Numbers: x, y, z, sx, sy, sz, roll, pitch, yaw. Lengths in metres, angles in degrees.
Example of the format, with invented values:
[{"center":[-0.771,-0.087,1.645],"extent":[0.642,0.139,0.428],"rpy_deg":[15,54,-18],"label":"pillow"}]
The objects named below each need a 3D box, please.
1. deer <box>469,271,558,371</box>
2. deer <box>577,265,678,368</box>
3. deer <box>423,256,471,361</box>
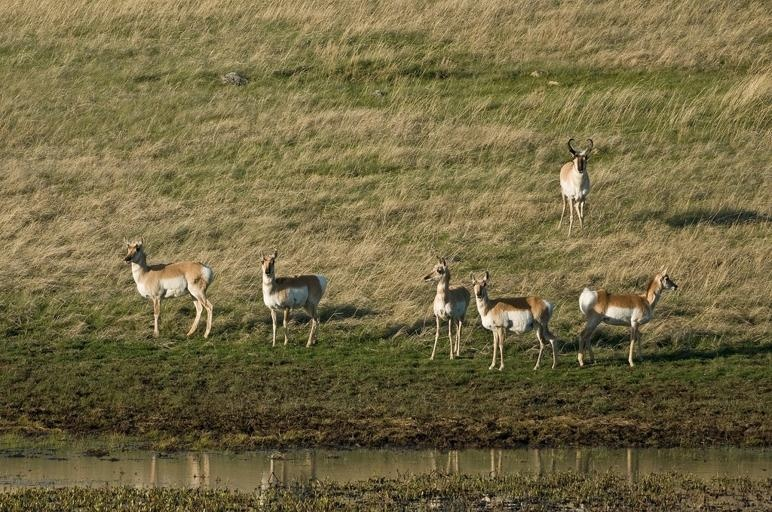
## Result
[{"center":[4.671,2.224,65.486],"extent":[2.761,3.506,1.698],"rpy_deg":[-3,10,3],"label":"deer"},{"center":[8.492,2.244,65.529],"extent":[3.277,3.140,1.124],"rpy_deg":[-4,9,-2],"label":"deer"},{"center":[2.307,1.697,66.457],"extent":[1.491,3.683,2.238],"rpy_deg":[-3,10,4],"label":"deer"}]
